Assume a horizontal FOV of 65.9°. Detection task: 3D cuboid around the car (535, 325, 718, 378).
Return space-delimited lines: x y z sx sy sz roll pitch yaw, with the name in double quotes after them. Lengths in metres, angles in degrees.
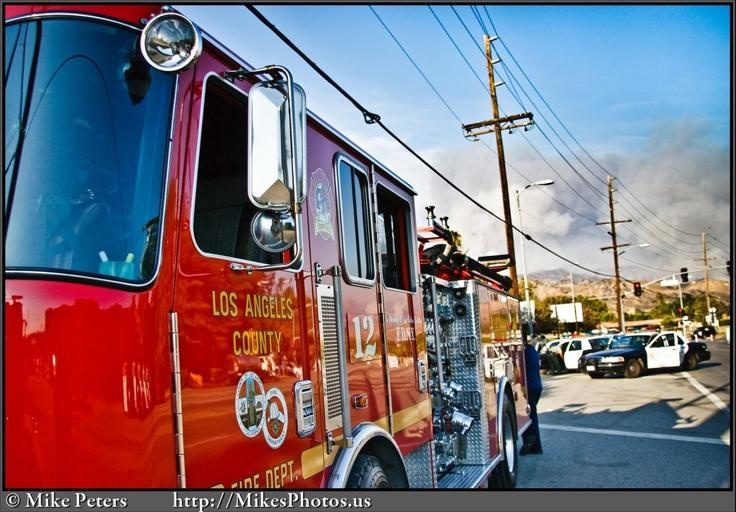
9.841 3.634 21.200 4.361 1.587 3.394 -9 -9 35 "car"
